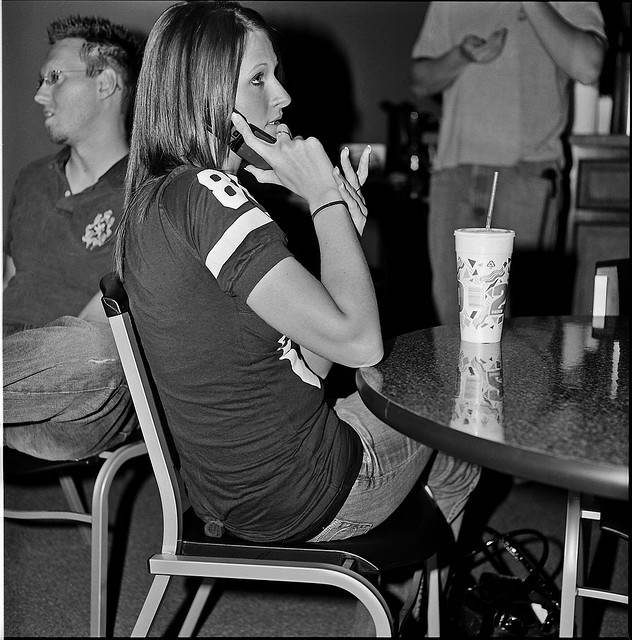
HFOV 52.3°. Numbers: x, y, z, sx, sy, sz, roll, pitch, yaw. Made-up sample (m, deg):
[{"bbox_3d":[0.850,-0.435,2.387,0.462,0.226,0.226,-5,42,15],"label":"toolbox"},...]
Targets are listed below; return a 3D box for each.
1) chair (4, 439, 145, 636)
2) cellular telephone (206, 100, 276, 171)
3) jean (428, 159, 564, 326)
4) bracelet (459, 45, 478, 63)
[{"bbox_3d":[-0.582,0.532,1.533,0.299,0.493,0.306,10,12,-5],"label":"chair"},{"bbox_3d":[-0.124,-0.293,1.064,0.085,0.022,0.089,30,-9,-16],"label":"cellular telephone"},{"bbox_3d":[0.785,-0.315,2.725,0.612,0.700,0.382,-3,12,-16],"label":"jean"},{"bbox_3d":[0.526,-0.917,2.224,0.057,0.053,0.056,2,12,8],"label":"bracelet"}]
